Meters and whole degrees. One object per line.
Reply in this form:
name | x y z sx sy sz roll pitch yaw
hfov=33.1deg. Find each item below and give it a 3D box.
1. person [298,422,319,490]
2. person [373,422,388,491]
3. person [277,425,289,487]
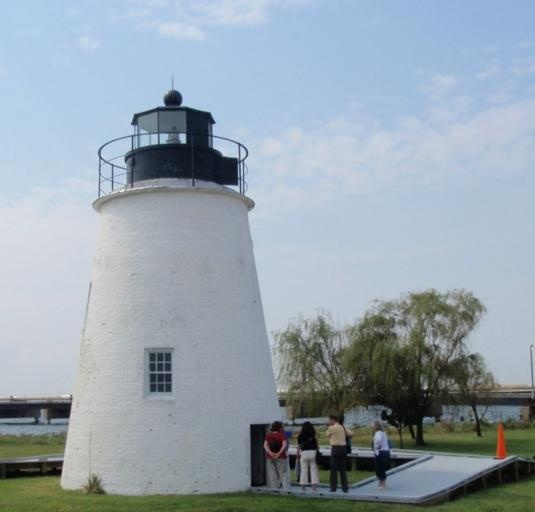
person | 1.019 5.029 22.825 0.479 1.712 0.682 -1 -5 2
person | 2.926 5.076 23.265 0.399 1.692 1.043 -2 -5 7
person | 0.350 5.081 23.174 0.373 1.678 0.656 -1 -5 1
